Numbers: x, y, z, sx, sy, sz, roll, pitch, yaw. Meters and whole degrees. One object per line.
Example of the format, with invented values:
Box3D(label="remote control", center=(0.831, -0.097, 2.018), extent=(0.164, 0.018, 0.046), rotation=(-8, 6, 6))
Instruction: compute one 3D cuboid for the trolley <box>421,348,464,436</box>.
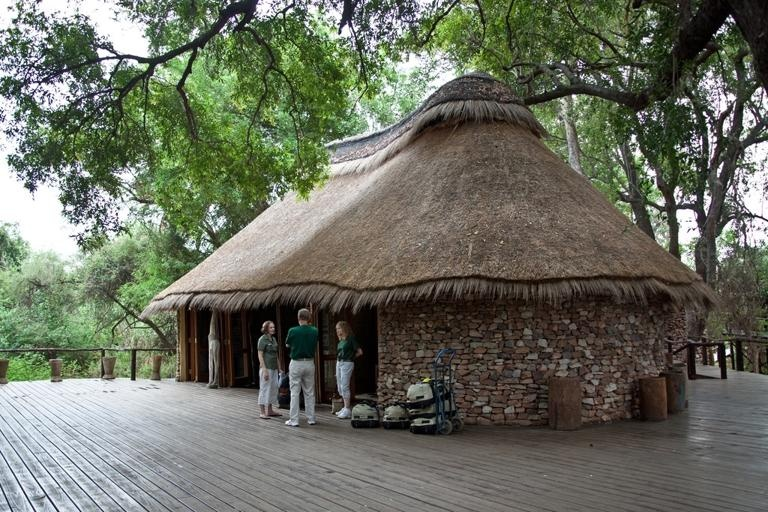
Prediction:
Box3D(label="trolley", center=(1.051, 2.710, 11.857), extent=(0.679, 1.694, 0.649), rotation=(-1, 1, 5))

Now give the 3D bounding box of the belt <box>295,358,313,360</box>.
Box3D(label="belt", center=(-1.648, 2.153, 12.400), extent=(0.273, 0.067, 0.040), rotation=(5, -13, -21))

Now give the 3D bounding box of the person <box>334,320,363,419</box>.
Box3D(label="person", center=(-0.791, 2.543, 13.189), extent=(0.495, 2.114, 0.719), rotation=(0, -11, -3))

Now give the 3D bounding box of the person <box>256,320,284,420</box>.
Box3D(label="person", center=(-2.520, 2.538, 13.142), extent=(0.506, 2.100, 1.007), rotation=(2, -12, -9))

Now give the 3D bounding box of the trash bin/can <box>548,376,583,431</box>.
Box3D(label="trash bin/can", center=(3.595, 2.926, 11.708), extent=(0.621, 0.987, 0.373), rotation=(-3, -12, 14))

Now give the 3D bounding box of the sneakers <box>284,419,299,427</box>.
Box3D(label="sneakers", center=(-1.914, 3.489, 12.363), extent=(0.123, 0.166, 0.332), rotation=(4, -3, -39))
